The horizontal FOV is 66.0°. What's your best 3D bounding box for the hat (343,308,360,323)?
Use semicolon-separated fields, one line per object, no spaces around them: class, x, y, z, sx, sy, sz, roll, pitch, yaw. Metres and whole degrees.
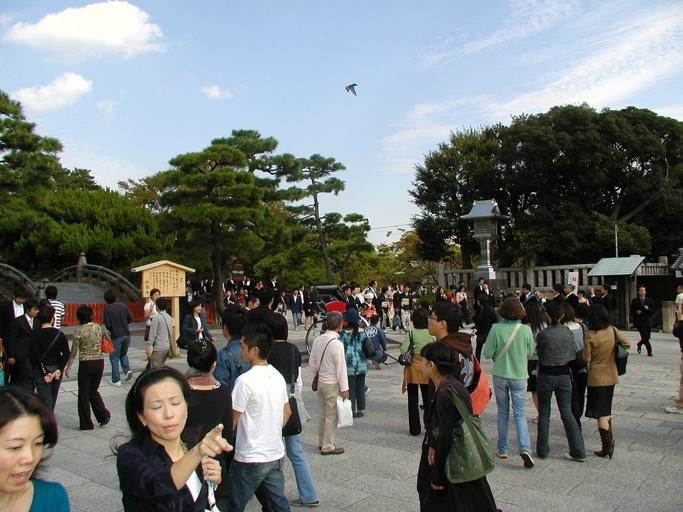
hat;0.152;0.952;8.333;0.209;0.097;0.212;9;28;-23
